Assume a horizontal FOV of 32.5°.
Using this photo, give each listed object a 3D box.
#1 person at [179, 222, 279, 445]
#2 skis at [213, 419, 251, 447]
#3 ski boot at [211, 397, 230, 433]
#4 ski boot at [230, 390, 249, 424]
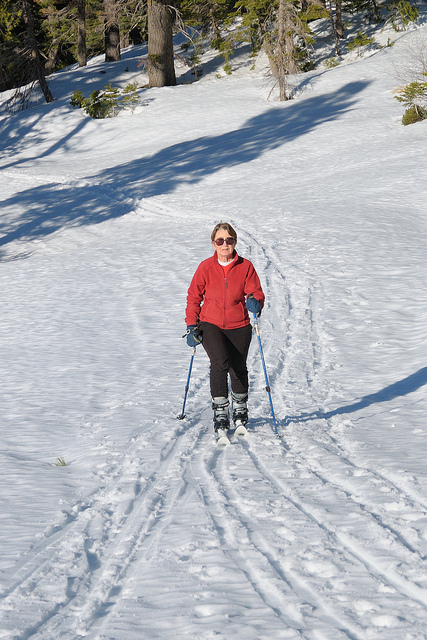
[{"bbox_3d":[0.095,0.121,6.462,0.648,1.938,0.475,-14,17,-37],"label":"person"},{"bbox_3d":[0.156,1.023,6.593,0.139,0.177,0.428,2,-17,-3],"label":"skis"},{"bbox_3d":[0.070,0.849,6.525,0.141,0.353,0.199,-3,13,-1],"label":"ski boot"},{"bbox_3d":[0.246,0.802,6.809,0.145,0.318,0.161,-3,13,1],"label":"ski boot"}]
